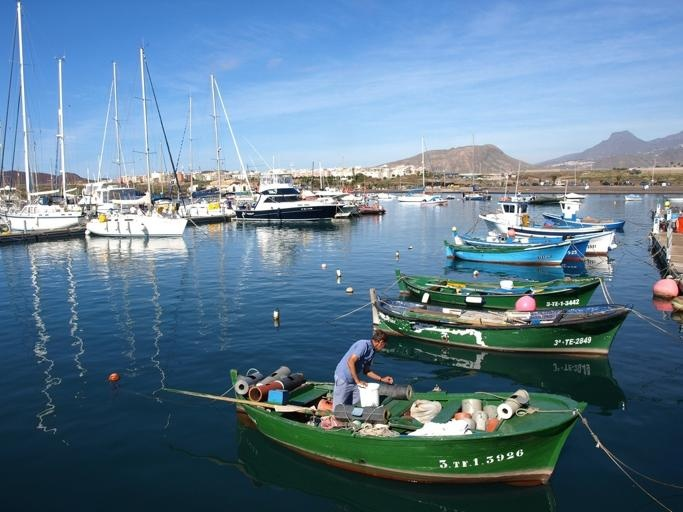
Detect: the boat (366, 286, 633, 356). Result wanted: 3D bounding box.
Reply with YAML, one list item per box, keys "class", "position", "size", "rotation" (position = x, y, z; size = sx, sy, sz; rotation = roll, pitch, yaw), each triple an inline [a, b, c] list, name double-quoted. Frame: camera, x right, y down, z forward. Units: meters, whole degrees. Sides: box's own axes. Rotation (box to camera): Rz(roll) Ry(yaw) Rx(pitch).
- class: "boat"
  position: [5.590, 2.664, 22.165]
  size: [10.003, 1.705, 2.419]
  rotation: [2, 8, 24]
